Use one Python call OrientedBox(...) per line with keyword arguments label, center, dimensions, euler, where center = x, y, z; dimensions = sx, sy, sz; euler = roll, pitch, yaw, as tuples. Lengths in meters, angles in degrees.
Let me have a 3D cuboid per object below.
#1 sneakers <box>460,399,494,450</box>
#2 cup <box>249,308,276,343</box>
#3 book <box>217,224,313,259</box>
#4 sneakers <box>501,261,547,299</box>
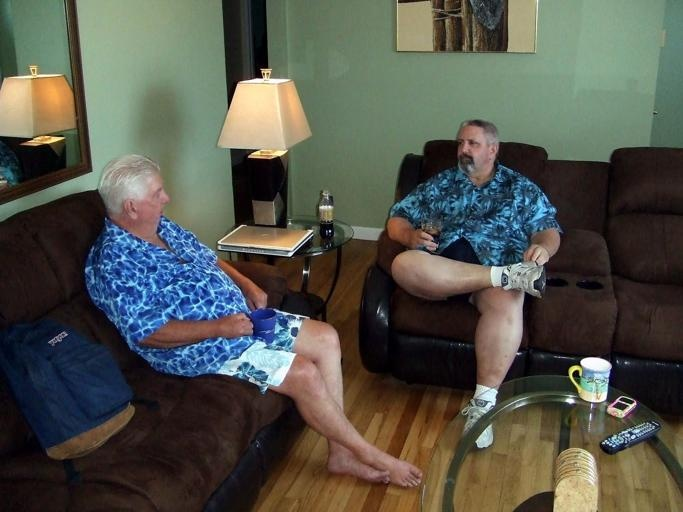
OrientedBox(label="sneakers", center=(0.522, 0.635, 2.064), dimensions=(0.072, 0.099, 0.223), euler=(-6, 12, 16))
OrientedBox(label="cup", center=(-0.312, 0.275, 2.244), dimensions=(0.122, 0.124, 0.103), euler=(12, 22, 30))
OrientedBox(label="book", center=(-0.425, -0.082, 2.996), dimensions=(0.256, 0.060, 0.287), euler=(6, 22, 14))
OrientedBox(label="sneakers", center=(0.851, 0.106, 2.562), dimensions=(0.078, 0.134, 0.198), euler=(-3, 3, -45))
